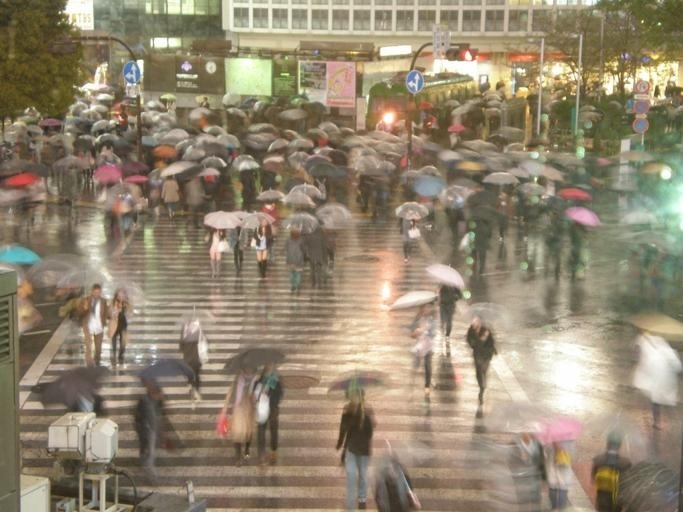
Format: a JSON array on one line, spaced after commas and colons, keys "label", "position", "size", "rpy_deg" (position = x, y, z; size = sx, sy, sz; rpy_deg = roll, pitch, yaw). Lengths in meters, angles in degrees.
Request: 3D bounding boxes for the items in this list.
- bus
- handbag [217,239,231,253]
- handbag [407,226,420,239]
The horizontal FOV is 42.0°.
[{"label": "bus", "position": [5.143, -10.624, 59.471], "size": [11.128, 3.741, 2.114], "rpy_deg": [-4, 11, -38]}, {"label": "handbag", "position": [-3.575, -0.305, 26.777], "size": [0.317, 0.387, 0.179], "rpy_deg": [3, 21, 2]}, {"label": "handbag", "position": [2.336, -0.732, 28.679], "size": [0.329, 0.577, 0.349], "rpy_deg": [-1, 13, -2]}]
